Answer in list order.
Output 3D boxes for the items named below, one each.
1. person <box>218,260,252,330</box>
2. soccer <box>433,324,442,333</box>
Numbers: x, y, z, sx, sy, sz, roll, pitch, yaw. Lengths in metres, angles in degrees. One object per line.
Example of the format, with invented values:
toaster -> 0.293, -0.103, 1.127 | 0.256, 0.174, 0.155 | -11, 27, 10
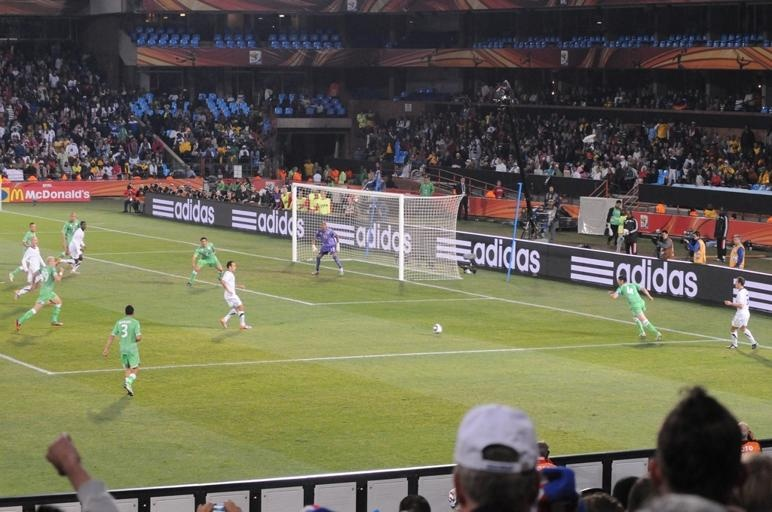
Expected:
person -> -5.384, 1.412, 45.082 | 1.440, 2.318, 1.083 | -1, 1, -32
soccer -> 1.764, 2.533, 44.547 | 0.295, 0.258, 0.281 | -9, -8, 20
